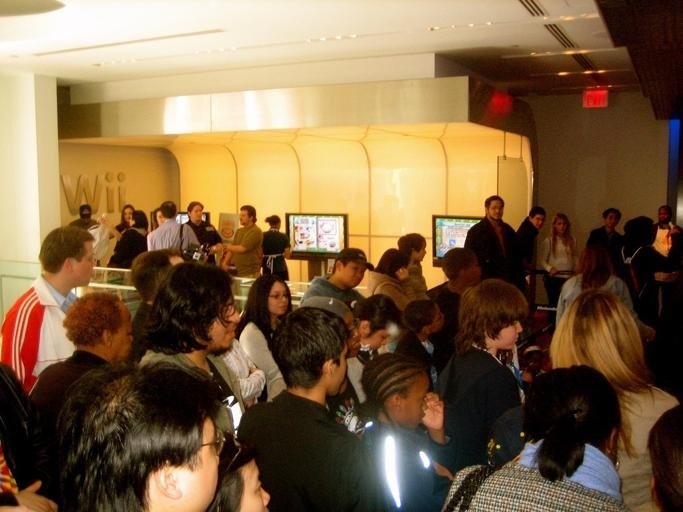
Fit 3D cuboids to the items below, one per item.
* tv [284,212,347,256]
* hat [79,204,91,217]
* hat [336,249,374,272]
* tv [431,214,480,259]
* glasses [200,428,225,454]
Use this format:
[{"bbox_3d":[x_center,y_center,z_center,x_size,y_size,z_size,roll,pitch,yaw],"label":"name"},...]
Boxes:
[{"bbox_3d":[-0.499,-0.369,10.050,1.253,0.929,0.122,1,-6,-26],"label":"tv"},{"bbox_3d":[-4.566,-0.805,9.395,0.254,0.130,0.365,-4,6,-26],"label":"hat"},{"bbox_3d":[0.114,0.053,4.900,0.281,0.165,0.208,3,-2,23],"label":"hat"},{"bbox_3d":[1.711,-0.308,7.836,0.648,0.711,0.069,2,2,18],"label":"tv"},{"bbox_3d":[-0.337,0.488,1.386,0.050,0.018,0.052,6,-7,1],"label":"glasses"}]
